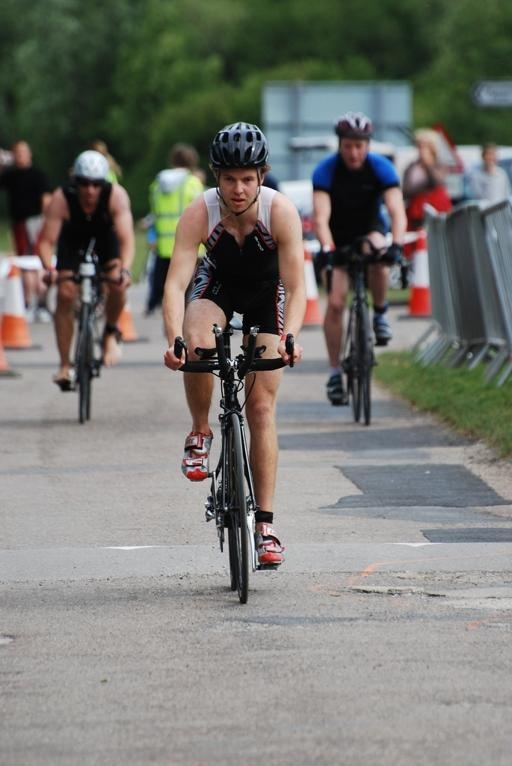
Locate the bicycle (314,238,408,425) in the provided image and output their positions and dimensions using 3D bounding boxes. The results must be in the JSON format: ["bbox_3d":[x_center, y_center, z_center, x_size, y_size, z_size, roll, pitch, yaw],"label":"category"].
[{"bbox_3d":[0.739,-0.370,9.149,0.415,1.278,0.917,-1,5,-14],"label":"bicycle"}]

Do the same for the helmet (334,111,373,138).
[{"bbox_3d":[0.697,-1.779,9.023,0.171,0.181,0.220,-1,-15,1],"label":"helmet"}]

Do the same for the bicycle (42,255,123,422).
[{"bbox_3d":[-1.179,-0.362,9.171,0.370,1.245,1.103,0,5,3],"label":"bicycle"}]

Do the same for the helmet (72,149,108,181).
[{"bbox_3d":[-1.128,-1.491,8.916,0.222,0.162,0.220,8,23,-3],"label":"helmet"}]

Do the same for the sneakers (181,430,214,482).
[{"bbox_3d":[-0.214,0.253,4.836,0.082,0.093,0.222,3,22,-2],"label":"sneakers"}]

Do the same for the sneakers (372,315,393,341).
[{"bbox_3d":[0.932,-0.384,9.282,0.087,0.116,0.252,-5,14,-4],"label":"sneakers"}]

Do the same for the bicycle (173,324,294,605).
[{"bbox_3d":[-0.064,0.281,4.555,0.394,0.971,0.847,0,5,1],"label":"bicycle"}]

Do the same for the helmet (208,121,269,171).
[{"bbox_3d":[-0.054,-0.857,4.641,0.212,0.181,0.223,0,5,-2],"label":"helmet"}]
